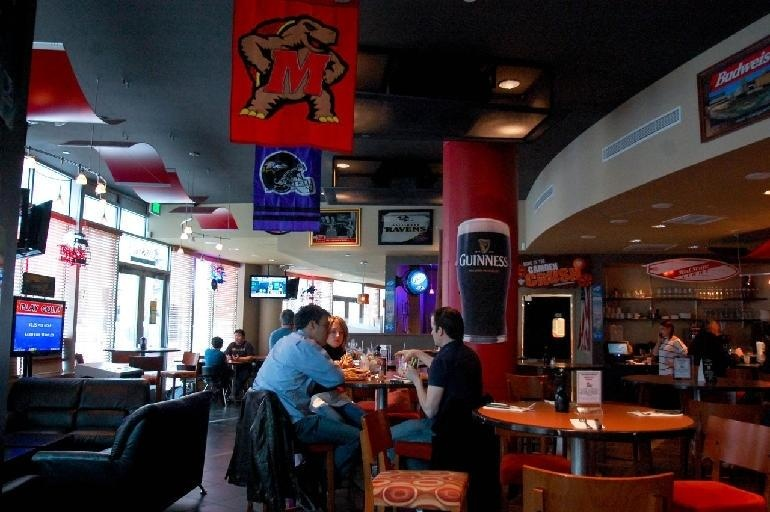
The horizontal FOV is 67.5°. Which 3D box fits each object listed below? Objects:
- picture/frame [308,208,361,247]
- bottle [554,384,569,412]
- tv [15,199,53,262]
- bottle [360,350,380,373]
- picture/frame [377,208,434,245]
[{"bbox_3d":[-0.970,-0.603,12.231,1.000,0.624,0.040,0,-3,6],"label":"picture/frame"},{"bbox_3d":[1.509,1.190,4.848,0.102,0.227,0.258,1,-8,18],"label":"bottle"},{"bbox_3d":[-4.128,-0.368,6.810,0.304,0.705,0.918,9,-10,-31],"label":"tv"},{"bbox_3d":[-0.157,1.269,6.767,0.164,0.211,0.234,-1,-9,10],"label":"bottle"},{"bbox_3d":[0.546,-0.624,12.656,0.914,0.544,0.107,0,-4,5],"label":"picture/frame"}]
